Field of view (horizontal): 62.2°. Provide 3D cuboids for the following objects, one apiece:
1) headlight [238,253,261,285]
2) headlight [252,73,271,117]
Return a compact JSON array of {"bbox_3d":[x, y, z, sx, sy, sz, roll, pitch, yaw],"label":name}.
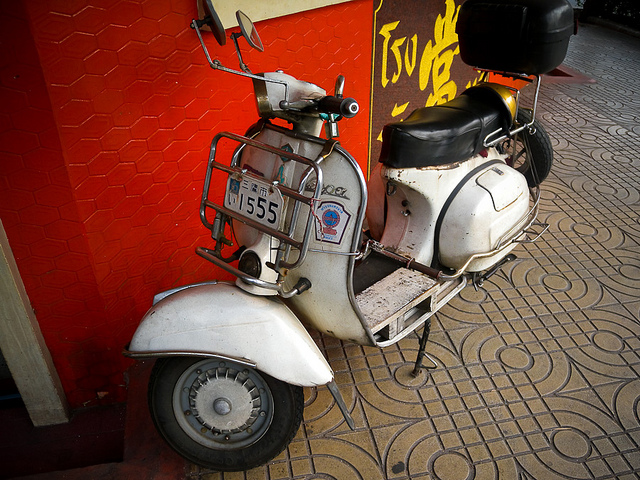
[{"bbox_3d":[-0.387,0.150,2.883,0.113,0.136,0.041,11,11,43],"label":"headlight"},{"bbox_3d":[-0.303,-0.732,2.747,0.102,0.210,0.039,30,49,35],"label":"headlight"}]
